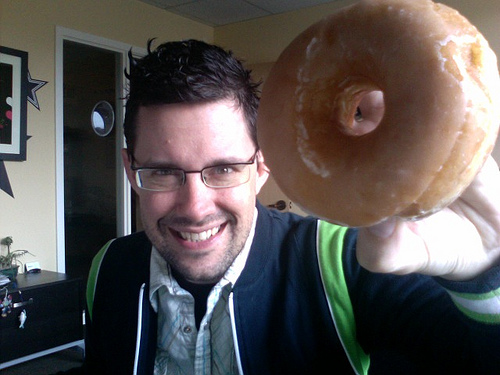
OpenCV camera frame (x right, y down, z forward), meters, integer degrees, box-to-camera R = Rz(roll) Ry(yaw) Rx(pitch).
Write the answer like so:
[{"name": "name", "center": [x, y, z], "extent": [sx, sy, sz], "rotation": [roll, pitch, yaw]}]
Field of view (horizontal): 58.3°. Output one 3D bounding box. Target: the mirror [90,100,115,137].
[{"name": "mirror", "center": [-1.155, -0.533, 3.526], "extent": [0.126, 0.262, 0.173], "rotation": [-1, 7, -2]}]

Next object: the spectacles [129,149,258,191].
[{"name": "spectacles", "center": [-0.134, -0.037, 1.099], "extent": [0.302, 0.085, 0.103], "rotation": [-1, 7, -1]}]

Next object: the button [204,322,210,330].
[{"name": "button", "center": [-0.106, 0.341, 1.110], "extent": [0.004, 0.015, 0.016], "rotation": [6, 12, 30]}]
